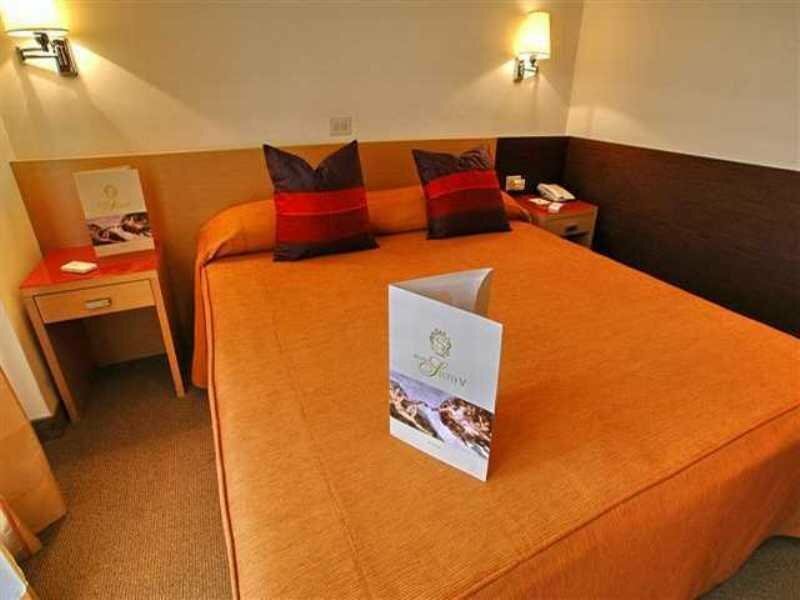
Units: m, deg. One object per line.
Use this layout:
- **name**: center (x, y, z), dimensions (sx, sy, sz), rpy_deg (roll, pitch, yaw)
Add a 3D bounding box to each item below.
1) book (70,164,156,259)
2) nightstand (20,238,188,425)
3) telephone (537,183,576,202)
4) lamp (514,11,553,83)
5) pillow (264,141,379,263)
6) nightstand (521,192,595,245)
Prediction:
- **book**: center (-1.443, -0.432, 2.608), dimensions (0.351, 0.482, 0.137), rpy_deg (-18, 23, -28)
- **nightstand**: center (-1.465, 0.138, 2.681), dimensions (0.587, 0.745, 0.487), rpy_deg (-10, 24, -17)
- **telephone**: center (1.112, -0.759, 3.651), dimensions (0.177, 0.074, 0.178), rpy_deg (-9, 30, -32)
- **lamp**: center (0.881, -1.605, 3.313), dimensions (0.341, 0.403, 0.207), rpy_deg (-19, 28, -34)
- **pillow**: center (-0.415, -0.480, 2.654), dimensions (0.562, 0.584, 0.301), rpy_deg (-10, 32, -21)
- **nightstand**: center (1.009, -0.519, 3.368), dimensions (0.354, 0.315, 0.207), rpy_deg (-17, 39, -24)
